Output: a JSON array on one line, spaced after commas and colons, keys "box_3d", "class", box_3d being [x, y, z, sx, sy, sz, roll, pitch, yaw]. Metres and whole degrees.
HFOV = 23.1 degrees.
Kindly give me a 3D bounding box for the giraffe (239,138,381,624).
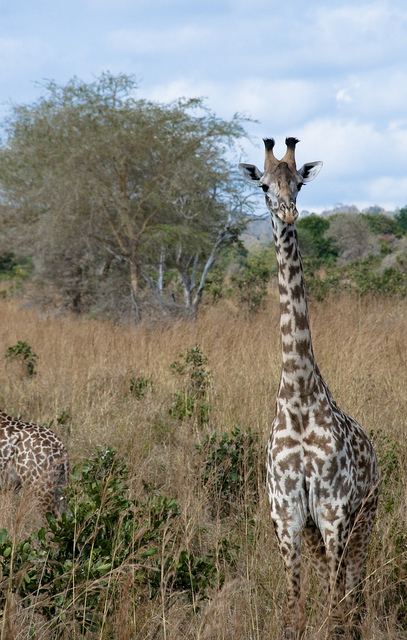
[{"box_3d": [0.712, 0.364, 6.168, 0.711, 2.952, 0.696, -1, 9, 9], "class": "giraffe"}]
